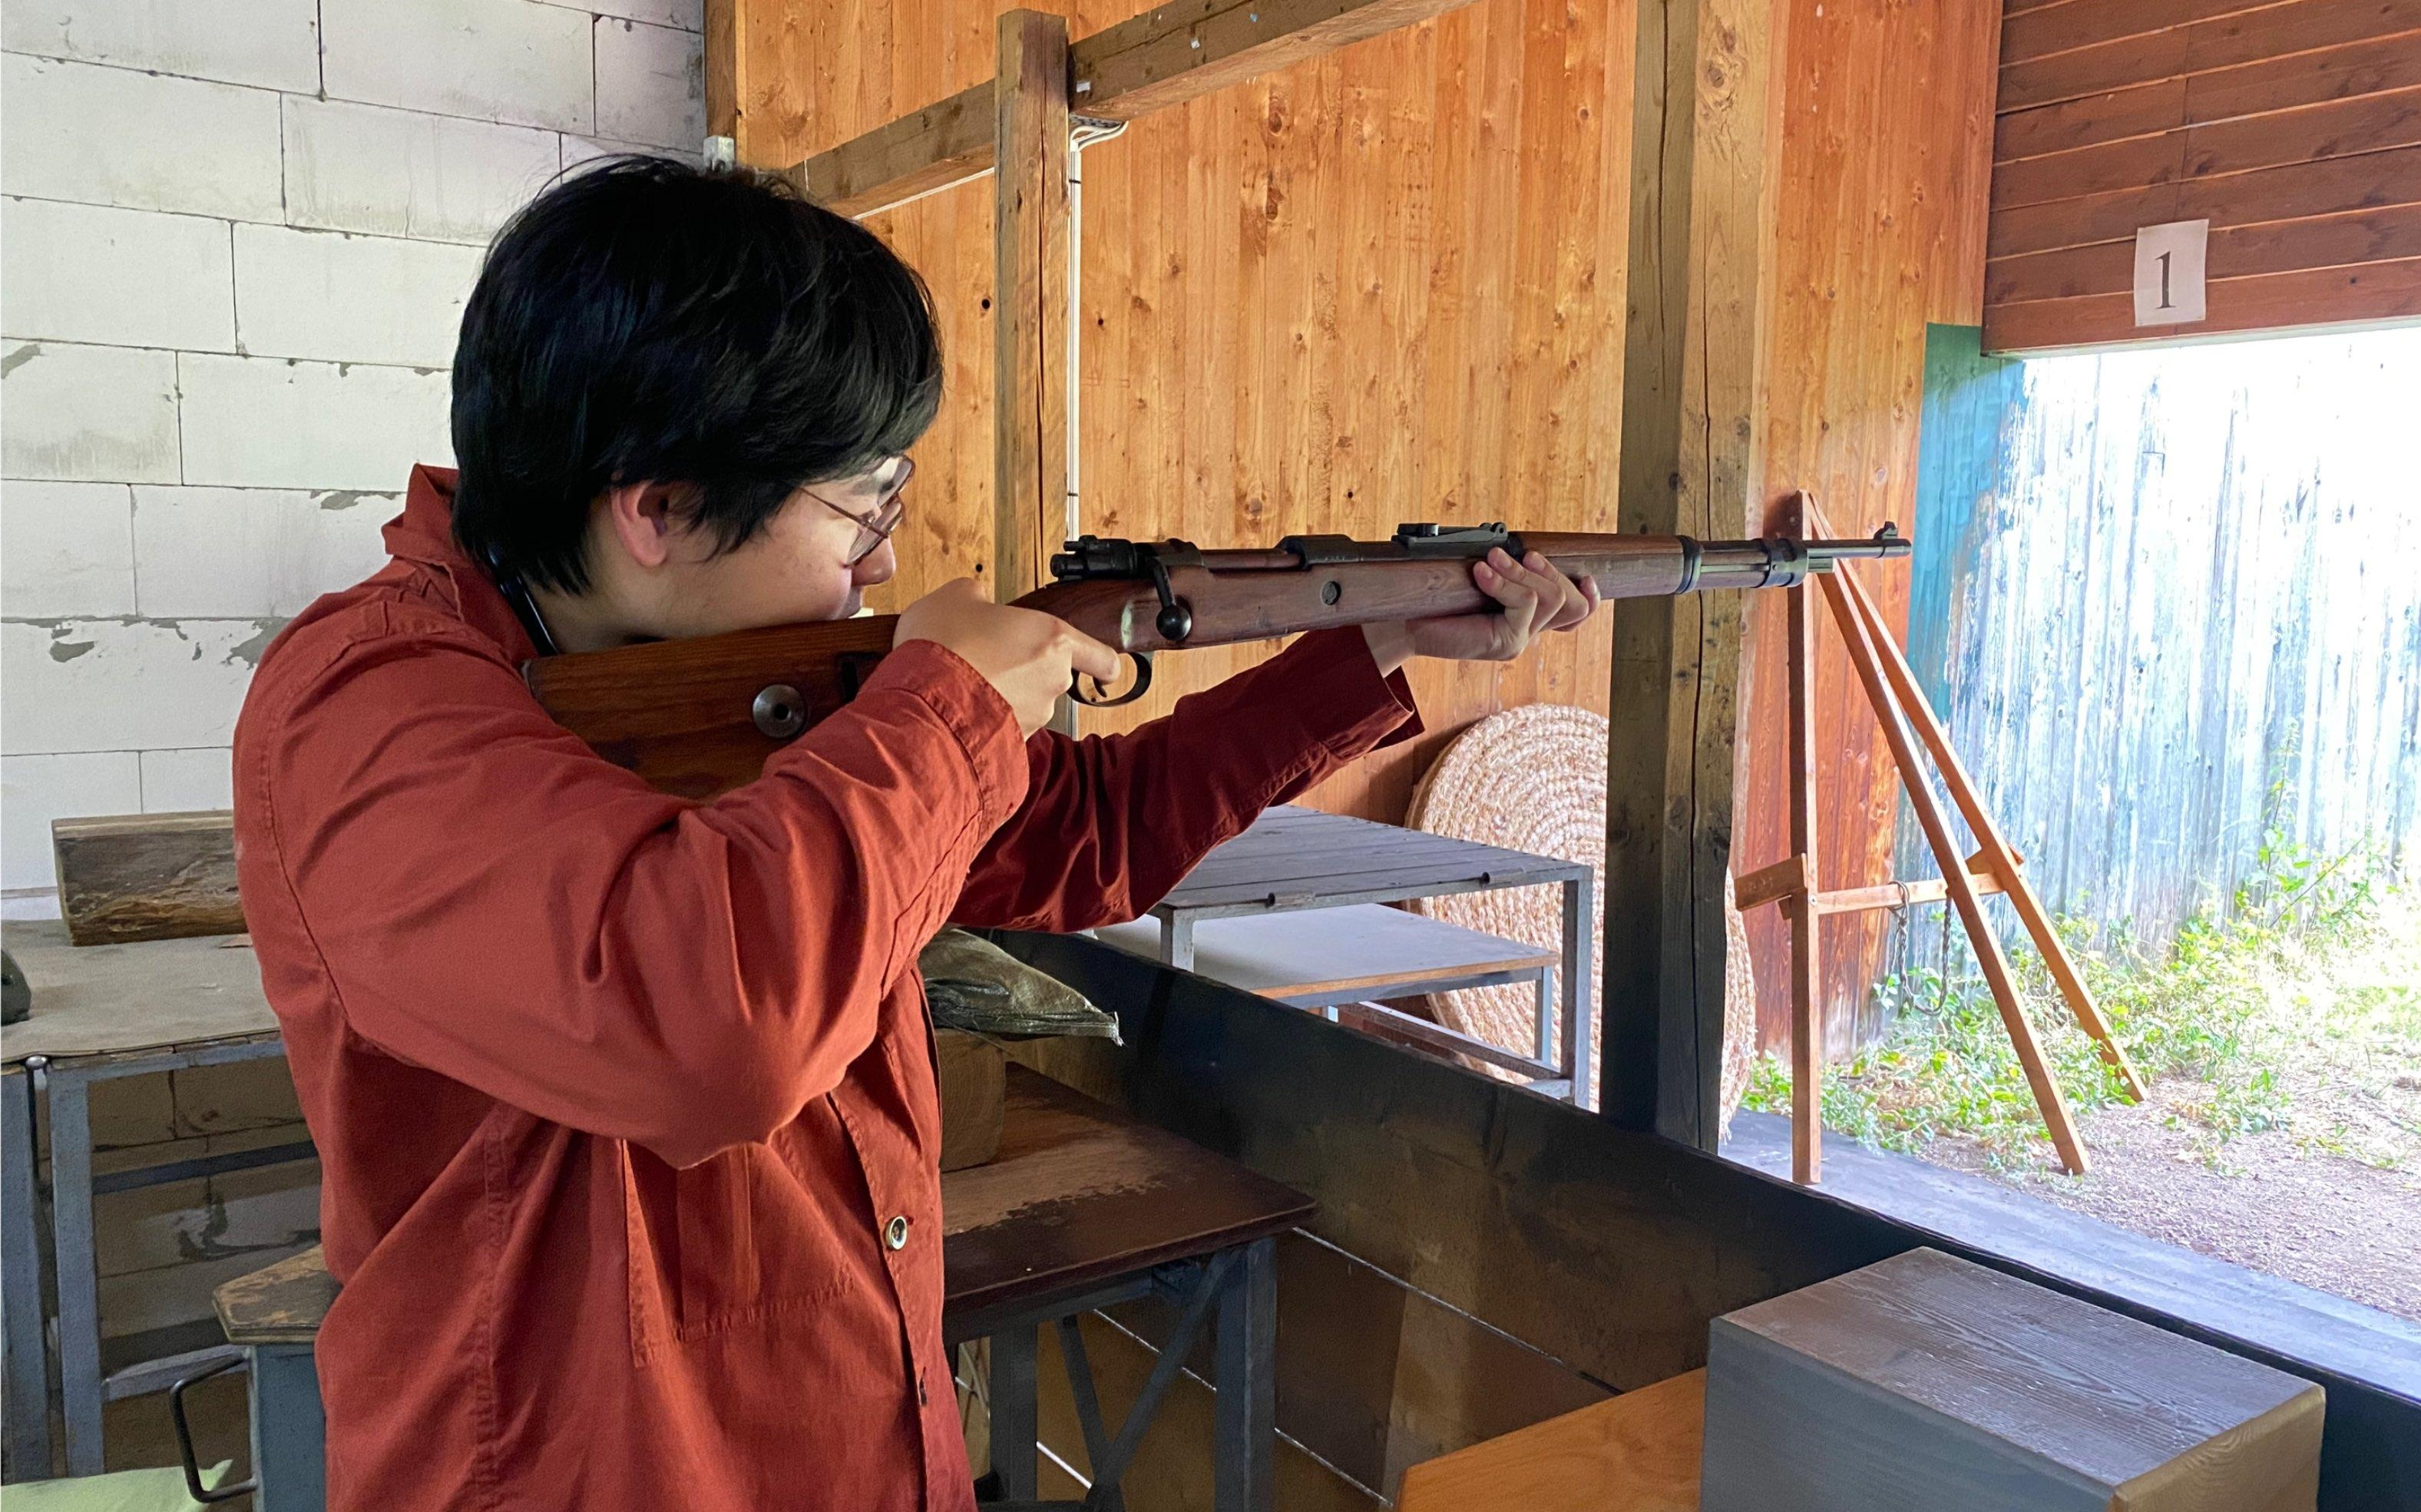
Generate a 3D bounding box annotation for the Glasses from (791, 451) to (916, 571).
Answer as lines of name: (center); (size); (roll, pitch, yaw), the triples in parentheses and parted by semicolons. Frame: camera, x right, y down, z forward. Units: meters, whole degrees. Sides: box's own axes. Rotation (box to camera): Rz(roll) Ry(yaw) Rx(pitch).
Glasses: (-0.514, -0.365, 2.825); (0.163, 0.049, 0.160); (30, 13, 2)
